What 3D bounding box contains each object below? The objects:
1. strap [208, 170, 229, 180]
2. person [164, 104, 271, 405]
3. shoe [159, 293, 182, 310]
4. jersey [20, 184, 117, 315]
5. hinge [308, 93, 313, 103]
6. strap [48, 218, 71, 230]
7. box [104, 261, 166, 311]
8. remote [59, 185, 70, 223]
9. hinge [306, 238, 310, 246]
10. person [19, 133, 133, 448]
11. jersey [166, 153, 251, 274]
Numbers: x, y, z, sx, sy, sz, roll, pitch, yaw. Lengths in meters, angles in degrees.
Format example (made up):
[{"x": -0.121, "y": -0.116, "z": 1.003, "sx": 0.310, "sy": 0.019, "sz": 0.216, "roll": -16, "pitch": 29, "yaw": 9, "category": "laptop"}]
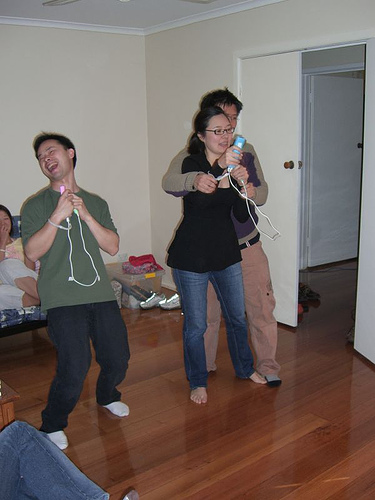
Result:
[{"x": 0.135, "y": -0.329, "z": 1.741, "sx": 0.054, "sy": 0.013, "sz": 0.055, "roll": -36, "pitch": 45, "yaw": -27, "category": "strap"}, {"x": 0.156, "y": 0.045, "z": 2.009, "sx": 0.487, "sy": 1.536, "sz": 0.611, "roll": 0, "pitch": 7, "yaw": 12, "category": "person"}, {"x": -0.161, "y": 0.477, "z": 3.629, "sx": 0.193, "sy": 0.134, "sz": 0.170, "roll": -2, "pitch": 7, "yaw": -5, "category": "shoe"}, {"x": -0.478, "y": -0.011, "z": 1.670, "sx": 0.399, "sy": 0.524, "sz": 0.252, "roll": -4, "pitch": 7, "yaw": -26, "category": "jersey"}, {"x": 1.379, "y": -1.702, "z": 4.430, "sx": 0.021, "sy": 0.103, "sz": 0.151, "roll": 3, "pitch": 8, "yaw": 34, "category": "hinge"}, {"x": -0.489, "y": -0.097, "z": 1.523, "sx": 0.054, "sy": 0.047, "sz": 0.121, "roll": -1, "pitch": 7, "yaw": 0, "category": "strap"}, {"x": -0.524, "y": 0.299, "z": 3.906, "sx": 0.424, "sy": 0.337, "sz": 0.563, "roll": -11, "pitch": 16, "yaw": -41, "category": "box"}, {"x": -0.489, "y": -0.187, "z": 1.579, "sx": 0.027, "sy": 0.147, "sz": 0.118, "roll": -3, "pitch": 7, "yaw": -18, "category": "remote"}, {"x": 1.466, "y": -0.096, "z": 4.825, "sx": 0.020, "sy": 0.095, "sz": 0.091, "roll": 4, "pitch": 8, "yaw": 37, "category": "hinge"}, {"x": -0.452, "y": 0.181, "z": 1.733, "sx": 0.340, "sy": 1.345, "sz": 0.504, "roll": 2, "pitch": 7, "yaw": 25, "category": "person"}, {"x": 0.114, "y": -0.091, "z": 1.926, "sx": 0.375, "sy": 0.416, "sz": 0.240, "roll": -5, "pitch": 8, "yaw": -27, "category": "jersey"}]
